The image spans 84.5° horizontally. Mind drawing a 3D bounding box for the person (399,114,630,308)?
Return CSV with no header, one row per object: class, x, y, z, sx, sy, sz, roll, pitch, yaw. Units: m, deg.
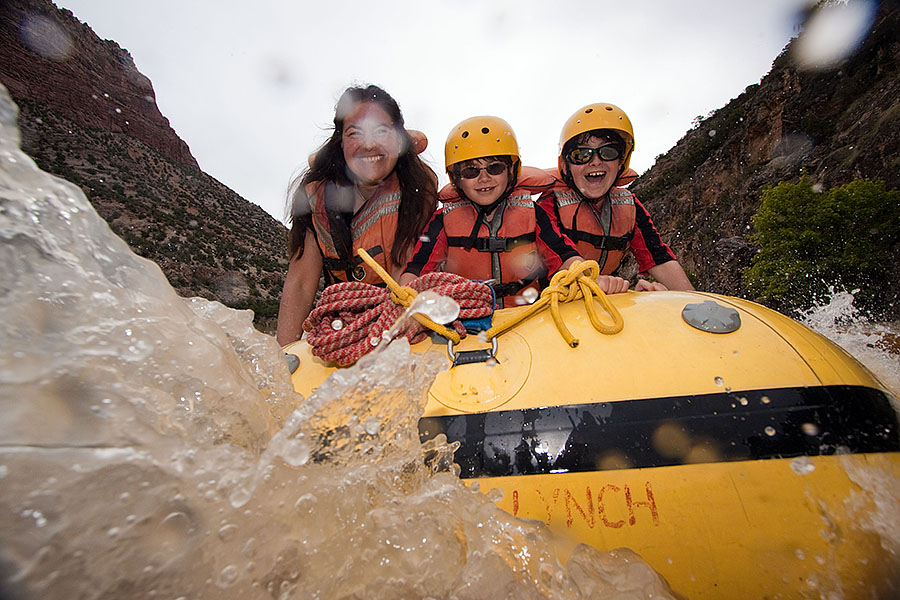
person,0.436,-0.663,3.754,1.363,1.779,0.724,-4,8,1
